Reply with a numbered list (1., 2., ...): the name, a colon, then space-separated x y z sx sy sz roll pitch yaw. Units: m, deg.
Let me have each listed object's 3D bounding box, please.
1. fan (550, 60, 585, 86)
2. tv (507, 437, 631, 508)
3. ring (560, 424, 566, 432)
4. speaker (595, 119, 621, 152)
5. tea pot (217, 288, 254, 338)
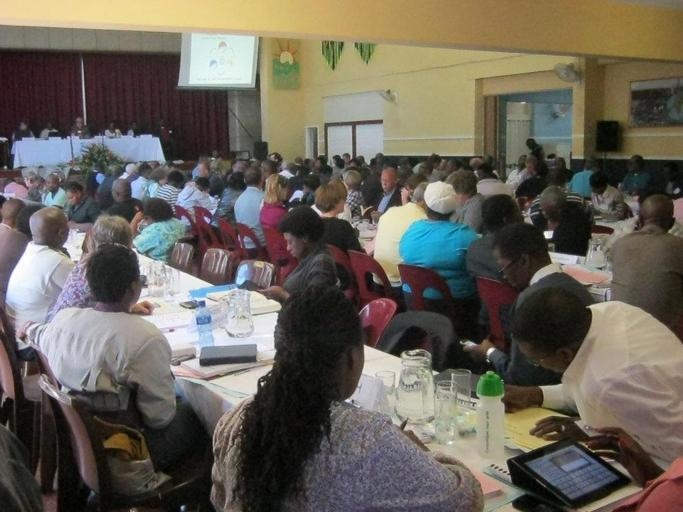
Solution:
1. fan: 4.155 -3.447 10.451 0.646 0.425 0.349 -4 8 -29
2. tv: 0.658 0.640 1.643 0.221 0.070 0.160 -5 23 -37
3. ring: 0.758 0.593 1.921 0.015 0.016 0.029 -3 -16 18
4. speaker: 5.074 -2.323 10.606 0.462 0.636 0.349 14 37 42
5. tea pot: -0.523 0.307 2.941 0.201 0.306 0.211 -1 2 0
